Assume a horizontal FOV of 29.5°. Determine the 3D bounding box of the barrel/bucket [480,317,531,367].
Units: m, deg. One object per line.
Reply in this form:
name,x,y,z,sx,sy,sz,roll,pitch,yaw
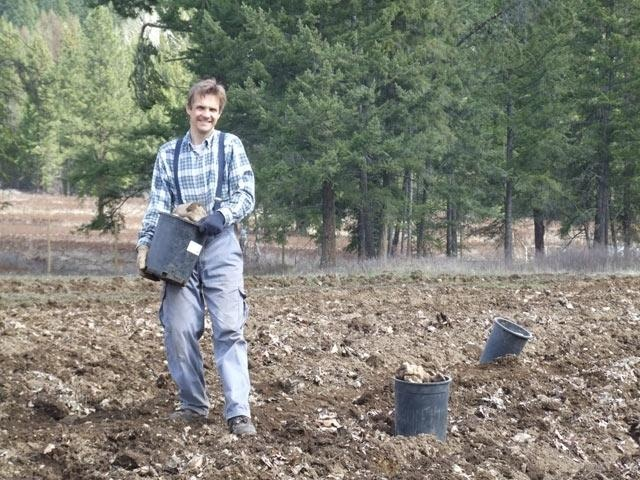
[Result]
barrel/bucket,5.892,3.260,38.522,1.304,1.567,1.401,4,3,0
